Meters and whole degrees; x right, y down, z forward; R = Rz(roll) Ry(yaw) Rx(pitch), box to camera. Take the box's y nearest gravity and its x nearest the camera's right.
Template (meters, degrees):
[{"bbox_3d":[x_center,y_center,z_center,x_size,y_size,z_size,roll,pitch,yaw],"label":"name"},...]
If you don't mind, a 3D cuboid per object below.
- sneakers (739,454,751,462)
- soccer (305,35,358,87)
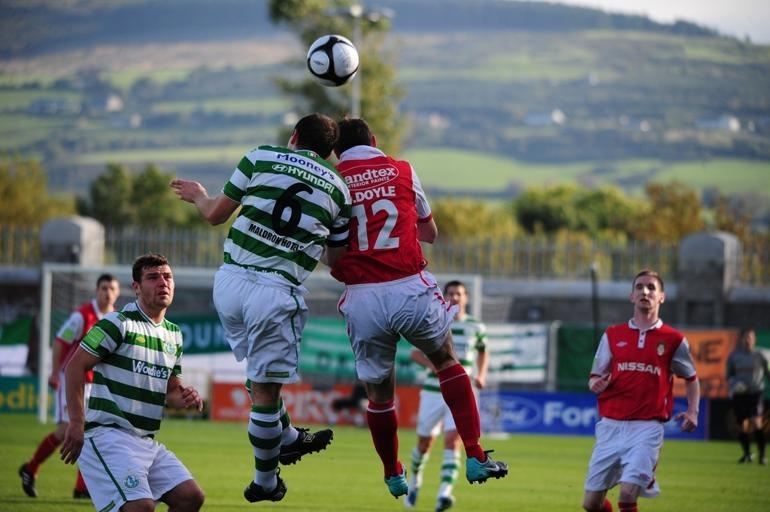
[{"bbox_3d":[7.634,4.224,35.949,0.281,0.197,0.364,-1,-5,12],"label":"sneakers"},{"bbox_3d":[-0.878,-3.451,29.902,0.892,0.971,0.886,-10,15,-34],"label":"soccer"}]
